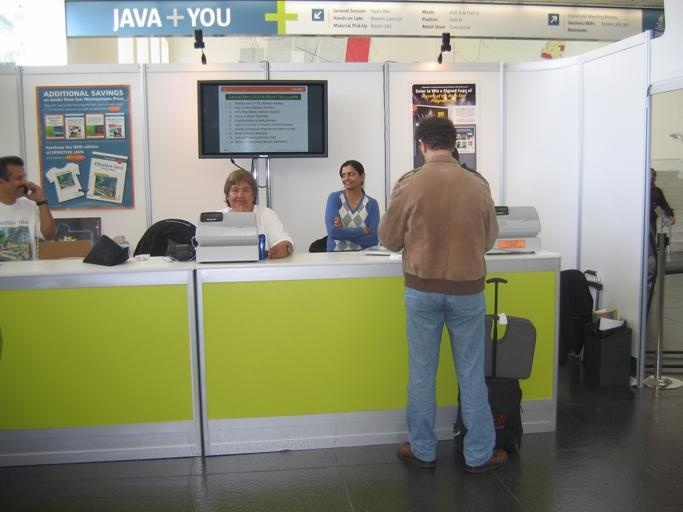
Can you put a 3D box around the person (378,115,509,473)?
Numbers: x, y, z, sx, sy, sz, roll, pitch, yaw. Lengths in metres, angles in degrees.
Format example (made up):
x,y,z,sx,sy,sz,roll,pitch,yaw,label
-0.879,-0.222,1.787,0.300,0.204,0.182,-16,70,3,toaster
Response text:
x,y,z,sx,sy,sz,roll,pitch,yaw,label
0.626,0.247,3.713,0.753,2.144,0.306,-2,10,5,person

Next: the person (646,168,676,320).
x,y,z,sx,sy,sz,roll,pitch,yaw,label
2.661,-0.170,5.048,0.131,1.123,0.360,7,13,44,person

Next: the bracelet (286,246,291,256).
x,y,z,sx,sy,sz,roll,pitch,yaw,label
-0.375,-0.030,4.285,0.036,0.044,0.049,-1,52,-3,bracelet

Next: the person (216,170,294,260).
x,y,z,sx,sy,sz,roll,pitch,yaw,label
-0.674,-0.334,4.594,0.699,0.652,0.381,-3,-5,-13,person

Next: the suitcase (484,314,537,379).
x,y,z,sx,sy,sz,roll,pitch,yaw,label
1.057,0.583,3.834,0.398,0.402,0.135,0,6,5,suitcase

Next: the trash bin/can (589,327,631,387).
x,y,z,sx,sy,sz,roll,pitch,yaw,label
2.203,0.827,4.980,0.360,0.459,0.238,1,10,19,trash bin/can

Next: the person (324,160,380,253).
x,y,z,sx,sy,sz,roll,pitch,yaw,label
0.083,-0.417,5.048,0.454,0.736,0.459,-3,10,-2,person

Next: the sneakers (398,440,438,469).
x,y,z,sx,sy,sz,roll,pitch,yaw,label
0.478,1.263,3.847,0.103,0.093,0.214,-3,15,-36,sneakers

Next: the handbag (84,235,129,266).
x,y,z,sx,sy,sz,roll,pitch,yaw,label
-1.581,-0.035,3.995,0.306,0.190,0.176,-4,10,-10,handbag

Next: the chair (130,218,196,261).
x,y,z,sx,sy,sz,roll,pitch,yaw,label
-1.300,-0.116,4.626,0.379,0.217,0.515,-9,25,-21,chair

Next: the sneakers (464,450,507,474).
x,y,z,sx,sy,sz,roll,pitch,yaw,label
0.902,1.294,3.777,0.270,0.111,0.109,-15,17,-32,sneakers
